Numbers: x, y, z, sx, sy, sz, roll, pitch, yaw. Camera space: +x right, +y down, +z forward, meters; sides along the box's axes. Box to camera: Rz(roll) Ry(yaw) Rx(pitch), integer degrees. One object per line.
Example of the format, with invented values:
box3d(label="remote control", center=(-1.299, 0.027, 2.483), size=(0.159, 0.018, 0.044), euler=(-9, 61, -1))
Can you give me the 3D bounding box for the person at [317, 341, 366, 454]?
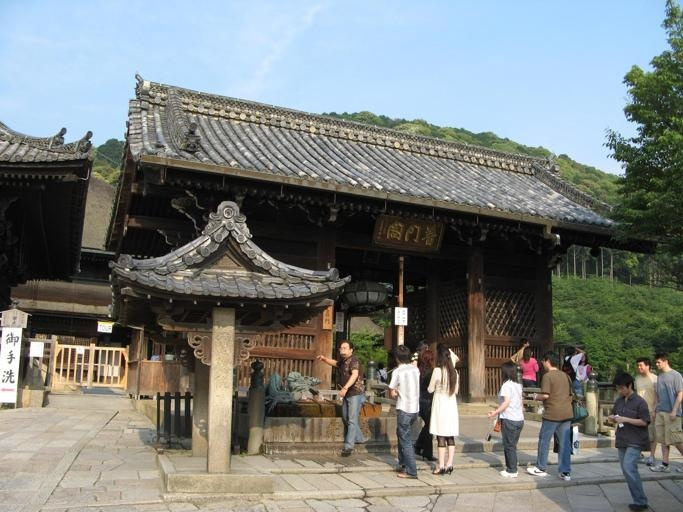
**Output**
box3d(label="person", center=(0.069, 2.540, 12.552), size=(0.674, 2.014, 1.307), euler=(-5, -7, -3))
